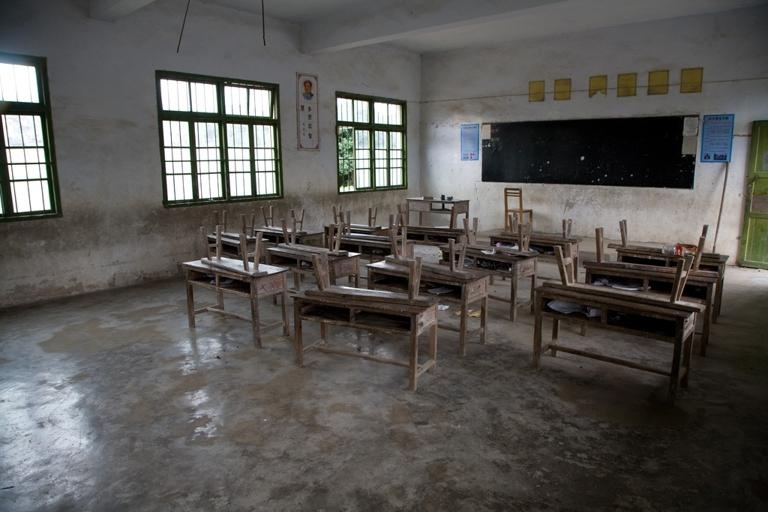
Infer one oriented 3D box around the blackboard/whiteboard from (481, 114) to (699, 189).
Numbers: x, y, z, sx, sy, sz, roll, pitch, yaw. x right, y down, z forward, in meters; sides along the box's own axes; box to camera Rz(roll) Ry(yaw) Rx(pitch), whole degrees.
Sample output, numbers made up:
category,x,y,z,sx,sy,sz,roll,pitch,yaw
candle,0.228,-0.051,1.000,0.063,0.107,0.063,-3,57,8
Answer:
category,x,y,z,sx,sy,sz,roll,pitch,yaw
blackboard/whiteboard,4.810,-2.460,11.668,4.523,1.643,0.403,5,12,29
